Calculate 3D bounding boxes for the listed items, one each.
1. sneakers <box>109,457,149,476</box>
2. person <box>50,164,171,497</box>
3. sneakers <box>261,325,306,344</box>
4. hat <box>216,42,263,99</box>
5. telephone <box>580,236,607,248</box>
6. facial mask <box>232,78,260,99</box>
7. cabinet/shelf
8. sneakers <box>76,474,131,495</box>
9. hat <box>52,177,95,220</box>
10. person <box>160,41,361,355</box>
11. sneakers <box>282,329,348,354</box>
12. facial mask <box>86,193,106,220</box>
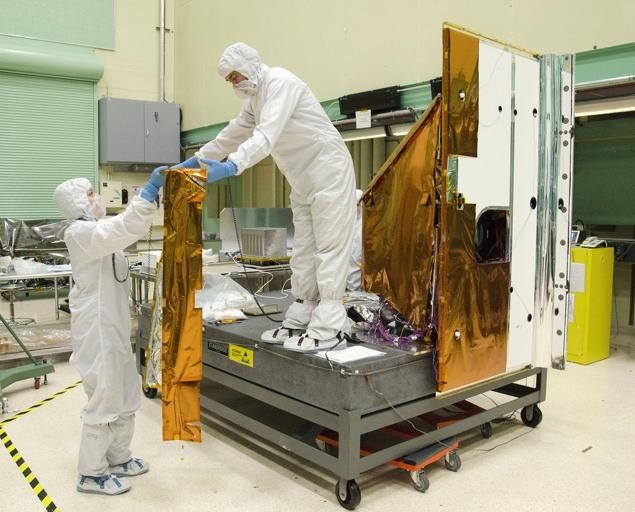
[{"bbox_3d":[-1.048,1.170,2.994,0.177,0.086,0.083,-2,4,-20],"label":"sneakers"},{"bbox_3d":[-1.107,0.384,2.846,0.656,1.683,0.387,6,10,36],"label":"person"},{"bbox_3d":[-0.222,0.431,3.081,0.190,0.085,0.114,1,-1,-6],"label":"sneakers"},{"bbox_3d":[-0.421,-1.050,2.908,0.187,0.273,0.253,25,32,32],"label":"hat"},{"bbox_3d":[2.556,-0.134,4.986,0.373,0.084,0.166,-8,11,-43],"label":"telephone"},{"bbox_3d":[-0.389,-0.898,2.916,0.075,0.053,0.095,13,54,30],"label":"facial mask"},{"bbox_3d":[-2.845,-2.035,8.971,1.165,1.043,0.459,1,4,-7],"label":"cabinet/shelf"},{"bbox_3d":[-1.133,1.188,2.890,0.270,0.142,0.114,3,-2,-7],"label":"sneakers"},{"bbox_3d":[-1.311,-0.298,2.883,0.188,0.217,0.161,-21,-14,-3],"label":"hat"},{"bbox_3d":[-0.199,-0.328,2.986,0.830,1.631,0.734,0,8,3],"label":"person"},{"bbox_3d":[-0.018,0.472,2.951,0.240,0.089,0.145,2,-3,-16],"label":"sneakers"},{"bbox_3d":[-1.205,-0.284,2.961,0.136,0.151,0.102,-2,5,-36],"label":"facial mask"}]
